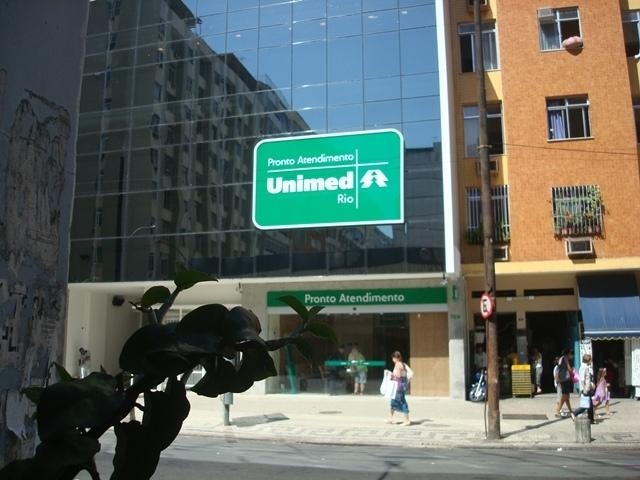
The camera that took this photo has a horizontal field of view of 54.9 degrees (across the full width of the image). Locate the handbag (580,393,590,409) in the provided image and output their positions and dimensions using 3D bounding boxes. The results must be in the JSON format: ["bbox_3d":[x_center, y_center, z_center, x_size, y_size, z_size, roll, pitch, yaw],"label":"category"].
[{"bbox_3d":[6.770,4.131,15.732,0.259,0.395,0.261,-8,-23,33],"label":"handbag"}]

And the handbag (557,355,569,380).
[{"bbox_3d":[7.103,3.739,17.936,0.469,0.714,0.375,-3,-31,28],"label":"handbag"}]

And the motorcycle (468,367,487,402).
[{"bbox_3d":[5.495,5.085,21.434,0.576,1.050,1.716,-2,-9,13],"label":"motorcycle"}]

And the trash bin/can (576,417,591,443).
[{"bbox_3d":[5.647,4.064,13.233,0.283,0.538,0.363,-5,-9,28],"label":"trash bin/can"}]

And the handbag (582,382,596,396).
[{"bbox_3d":[6.861,3.812,15.694,0.314,0.353,0.237,10,-12,30],"label":"handbag"}]
